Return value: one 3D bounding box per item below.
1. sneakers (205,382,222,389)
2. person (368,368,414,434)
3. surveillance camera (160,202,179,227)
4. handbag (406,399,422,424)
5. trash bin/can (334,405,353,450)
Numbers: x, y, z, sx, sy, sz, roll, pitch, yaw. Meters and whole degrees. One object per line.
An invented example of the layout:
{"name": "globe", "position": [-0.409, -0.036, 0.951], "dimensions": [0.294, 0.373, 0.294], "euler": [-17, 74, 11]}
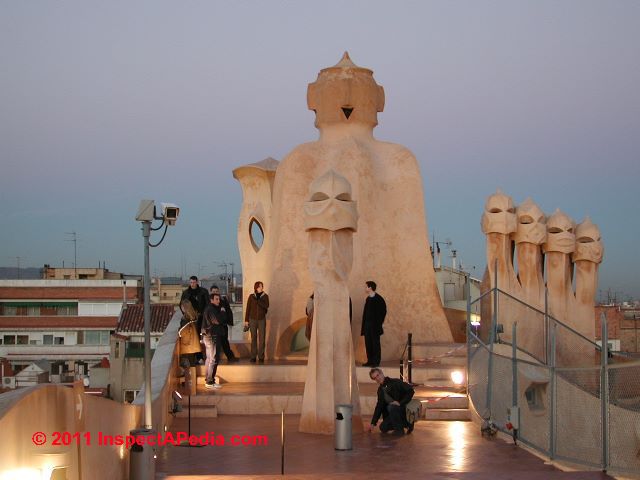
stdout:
{"name": "sneakers", "position": [-2.185, 2.997, 17.563], "dimensions": [0.317, 0.144, 0.119], "euler": [0, 6, -3]}
{"name": "person", "position": [1.291, 2.883, 15.326], "dimensions": [0.764, 1.172, 0.905], "euler": [-2, -7, 4]}
{"name": "surveillance camera", "position": [-2.552, -0.426, 14.595], "dimensions": [0.240, 0.379, 0.361], "euler": [1, -8, -19]}
{"name": "handbag", "position": [1.724, 3.130, 15.582], "dimensions": [0.286, 0.448, 0.440], "euler": [2, -10, 8]}
{"name": "trash bin/can", "position": [0.468, 3.149, 14.416], "dimensions": [0.258, 0.560, 0.244], "euler": [-11, -8, -45]}
